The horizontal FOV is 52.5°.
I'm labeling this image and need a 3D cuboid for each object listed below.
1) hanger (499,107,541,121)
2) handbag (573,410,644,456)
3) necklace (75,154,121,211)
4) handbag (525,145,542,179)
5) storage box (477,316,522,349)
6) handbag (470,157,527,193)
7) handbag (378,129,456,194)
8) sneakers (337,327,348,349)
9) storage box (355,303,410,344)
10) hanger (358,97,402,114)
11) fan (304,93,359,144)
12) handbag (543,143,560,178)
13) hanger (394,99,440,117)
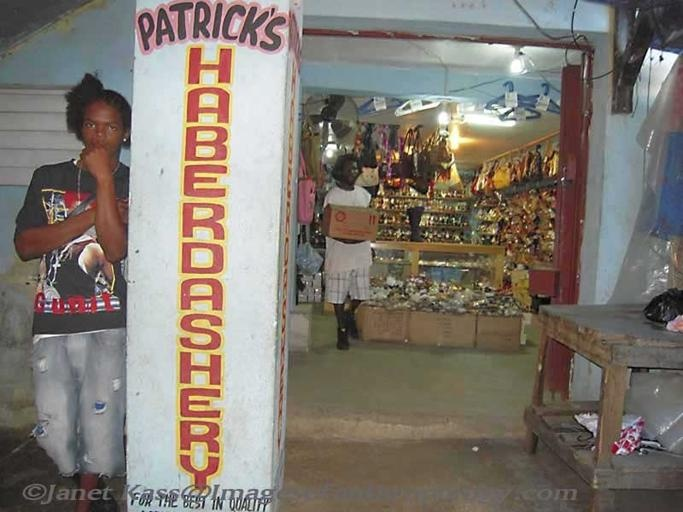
[{"bbox_3d":[1.872,-1.471,7.181,0.226,0.083,0.224,-13,20,-32],"label":"hanger"},{"bbox_3d":[1.637,1.027,4.158,0.378,0.210,0.185,33,-5,-8],"label":"handbag"},{"bbox_3d":[-1.546,-0.420,4.237,0.193,0.263,0.065,11,5,-4],"label":"necklace"},{"bbox_3d":[2.378,-1.127,8.493,0.119,0.352,0.356,1,-1,-6],"label":"handbag"},{"bbox_3d":[1.447,0.689,6.322,0.329,0.218,0.338,-1,0,10],"label":"storage box"},{"bbox_3d":[2.154,-1.108,9.417,0.245,0.304,0.756,25,1,-10],"label":"handbag"},{"bbox_3d":[0.869,-1.140,8.085,0.788,0.781,0.463,-6,9,2],"label":"handbag"},{"bbox_3d":[0.019,0.724,6.110,0.102,0.184,0.132,1,-1,-1],"label":"sneakers"},{"bbox_3d":[0.387,0.624,6.403,0.355,0.233,0.363,3,3,42],"label":"storage box"},{"bbox_3d":[0.393,-1.566,7.234,0.191,0.169,0.717,12,5,-14],"label":"hanger"},{"bbox_3d":[-0.105,-1.438,6.847,0.444,0.110,0.450,6,-29,5],"label":"fan"},{"bbox_3d":[2.455,-1.125,8.063,0.144,0.372,0.559,0,-1,10],"label":"handbag"},{"bbox_3d":[0.767,-1.536,7.066,0.420,0.125,0.451,0,-1,4],"label":"hanger"}]
